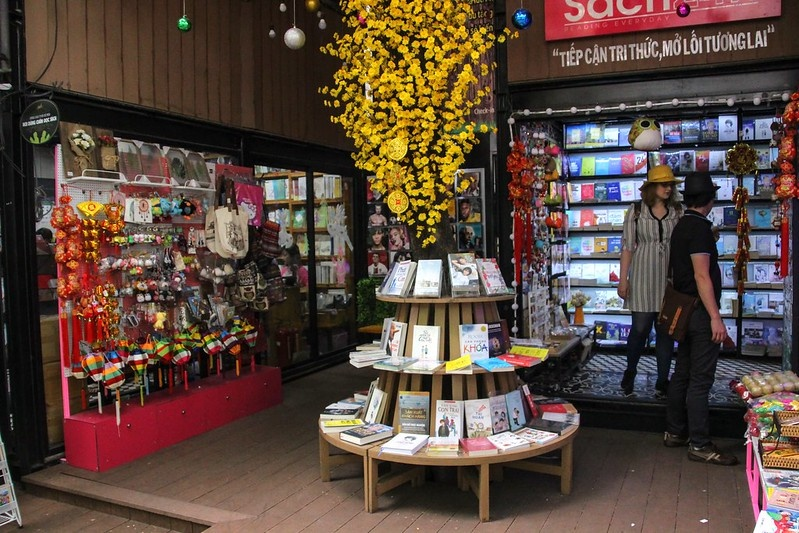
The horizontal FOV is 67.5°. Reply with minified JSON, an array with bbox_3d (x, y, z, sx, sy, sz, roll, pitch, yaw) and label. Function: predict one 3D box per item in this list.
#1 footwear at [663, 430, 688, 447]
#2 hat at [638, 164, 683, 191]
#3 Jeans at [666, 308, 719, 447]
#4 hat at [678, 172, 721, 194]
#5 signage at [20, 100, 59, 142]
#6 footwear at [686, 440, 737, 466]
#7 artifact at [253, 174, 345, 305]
[{"bbox_3d":[2.583,1.596,5.531,0.251,0.118,0.094,-2,3,-6],"label":"footwear"},{"bbox_3d":[2.637,-0.865,6.095,0.300,0.175,0.291,-5,3,32],"label":"hat"},{"bbox_3d":[2.630,0.948,5.396,0.306,1.316,0.374,10,-13,-31],"label":"Jeans"},{"bbox_3d":[2.981,-0.819,5.869,0.411,0.203,0.523,-4,14,31],"label":"hat"},{"bbox_3d":[-3.048,-1.230,5.079,0.404,0.416,0.037,-5,-8,14],"label":"signage"},{"bbox_3d":[2.710,1.627,5.202,0.391,0.183,0.155,0,1,17],"label":"footwear"},{"bbox_3d":[-1.355,-0.359,7.832,0.369,1.675,1.695,-2,-6,28],"label":"artifact"}]
